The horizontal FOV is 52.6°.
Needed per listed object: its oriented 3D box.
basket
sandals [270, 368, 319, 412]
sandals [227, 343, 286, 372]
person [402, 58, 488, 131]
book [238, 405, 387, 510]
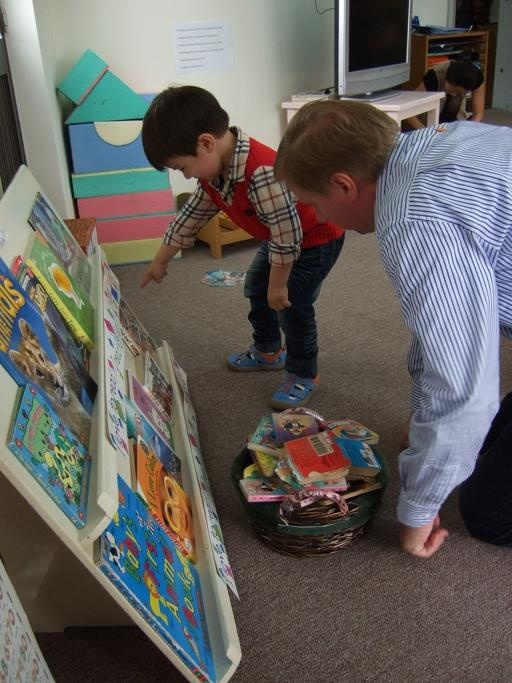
[{"bbox_3d":[0.133,0.378,1.105,0.248,0.105,0.259,-8,19,-3],"label":"basket"},{"bbox_3d":[0.135,0.166,1.772,0.083,0.071,0.179,3,19,32],"label":"sandals"},{"bbox_3d":[0.005,0.058,2.026,0.218,0.091,0.095,0,34,-1],"label":"sandals"},{"bbox_3d":[1.659,-2.165,4.343,0.521,0.269,0.823,5,74,22],"label":"person"},{"bbox_3d":[0.121,0.242,1.179,0.241,0.066,0.183,-1,44,3],"label":"book"}]
